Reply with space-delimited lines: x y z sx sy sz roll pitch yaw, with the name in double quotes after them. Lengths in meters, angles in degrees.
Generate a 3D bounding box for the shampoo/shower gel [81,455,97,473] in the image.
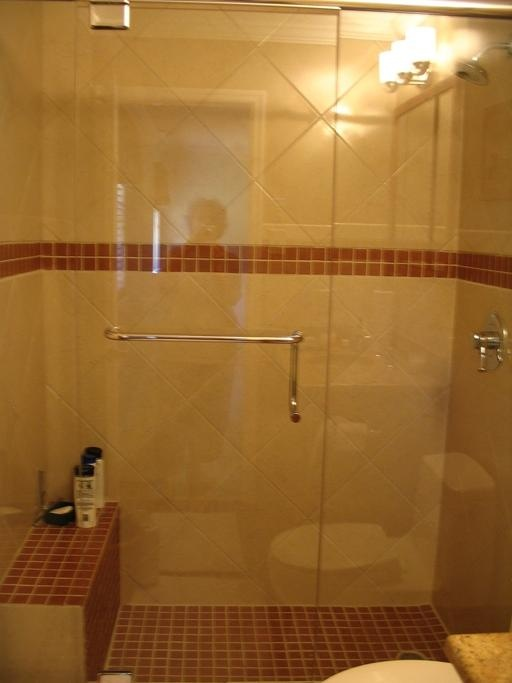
-0.508 0.364 2.031 0.051 0.045 0.060 6 -74 -9 "shampoo/shower gel"

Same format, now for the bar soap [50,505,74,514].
-0.600 0.519 2.084 0.040 0.031 0.013 1 -90 23 "bar soap"

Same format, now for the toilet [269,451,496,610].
0.324 0.492 2.214 0.702 0.381 0.617 1 -65 0 "toilet"
